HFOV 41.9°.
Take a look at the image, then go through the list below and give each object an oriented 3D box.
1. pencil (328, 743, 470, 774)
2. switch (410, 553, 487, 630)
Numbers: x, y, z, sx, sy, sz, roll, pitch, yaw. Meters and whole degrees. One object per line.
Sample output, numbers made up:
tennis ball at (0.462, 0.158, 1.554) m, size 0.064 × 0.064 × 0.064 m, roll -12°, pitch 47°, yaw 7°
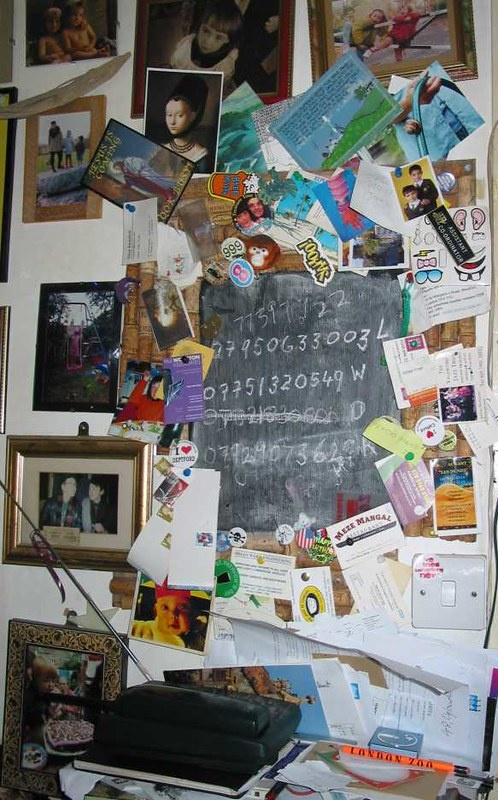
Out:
pencil at (0.296, 0.716, 1.297) m, size 0.206 × 0.022 × 0.023 m, roll 7°, pitch 70°, yaw 15°
switch at (0.432, 0.416, 1.417) m, size 0.154 × 0.121 × 0.104 m, roll 1°, pitch 35°, yaw 16°
